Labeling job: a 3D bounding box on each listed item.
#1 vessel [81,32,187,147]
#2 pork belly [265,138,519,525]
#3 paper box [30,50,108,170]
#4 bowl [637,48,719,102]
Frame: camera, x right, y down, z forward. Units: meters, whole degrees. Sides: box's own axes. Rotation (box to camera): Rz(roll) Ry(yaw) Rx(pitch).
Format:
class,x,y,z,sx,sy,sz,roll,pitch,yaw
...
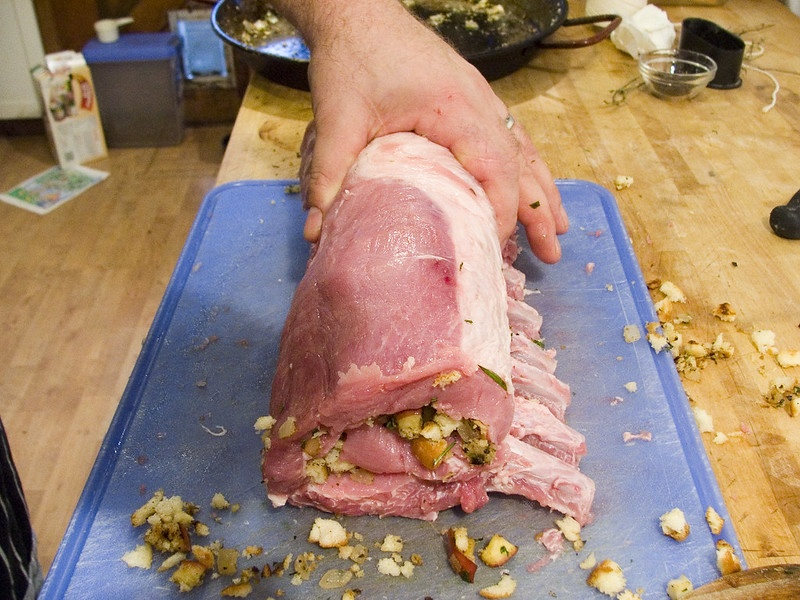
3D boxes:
class,x,y,z,sx,sy,sz,roll,pitch,yaw
vessel,-0.986,-0.774,2.982,0.318,0.338,0.185,-5,24,-5
pork belly,-0.007,0.085,1.602,0.422,0.315,0.807,2,58,7
paper box,-1.180,-0.678,2.797,0.191,0.403,0.152,-16,54,-19
bowl,0.897,-0.704,2.537,0.228,0.109,0.238,5,16,-2
